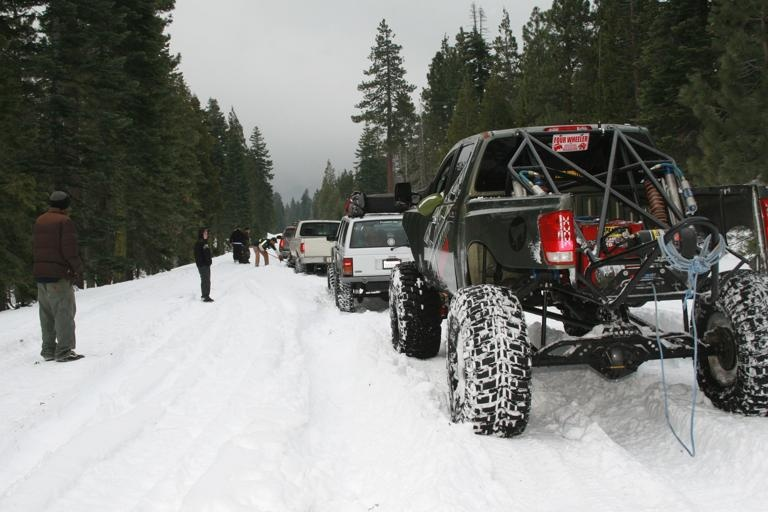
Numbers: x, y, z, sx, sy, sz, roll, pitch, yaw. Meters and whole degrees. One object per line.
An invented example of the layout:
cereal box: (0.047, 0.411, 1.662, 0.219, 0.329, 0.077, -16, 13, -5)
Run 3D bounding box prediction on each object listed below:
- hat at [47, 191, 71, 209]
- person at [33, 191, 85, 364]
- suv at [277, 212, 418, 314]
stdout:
hat: (-6.506, -1.148, 13.719, 0.401, 0.397, 0.478, -5, 12, -31)
person: (-6.420, 0.394, 13.477, 0.832, 3.317, 0.644, -5, 5, -28)
suv: (-0.554, 0.022, 18.198, 1.953, 2.002, 3.961, -1, 5, -13)
